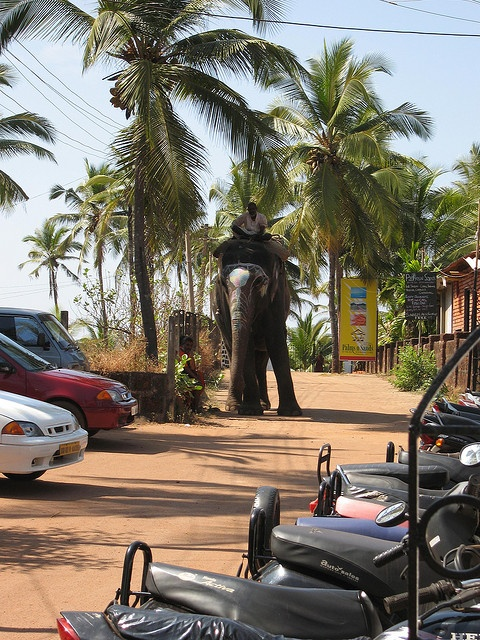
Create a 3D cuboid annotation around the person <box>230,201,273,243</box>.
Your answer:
[{"bbox_3d":[0.263,-2.152,15.701,1.112,1.091,0.799,1,2,2],"label":"person"}]
